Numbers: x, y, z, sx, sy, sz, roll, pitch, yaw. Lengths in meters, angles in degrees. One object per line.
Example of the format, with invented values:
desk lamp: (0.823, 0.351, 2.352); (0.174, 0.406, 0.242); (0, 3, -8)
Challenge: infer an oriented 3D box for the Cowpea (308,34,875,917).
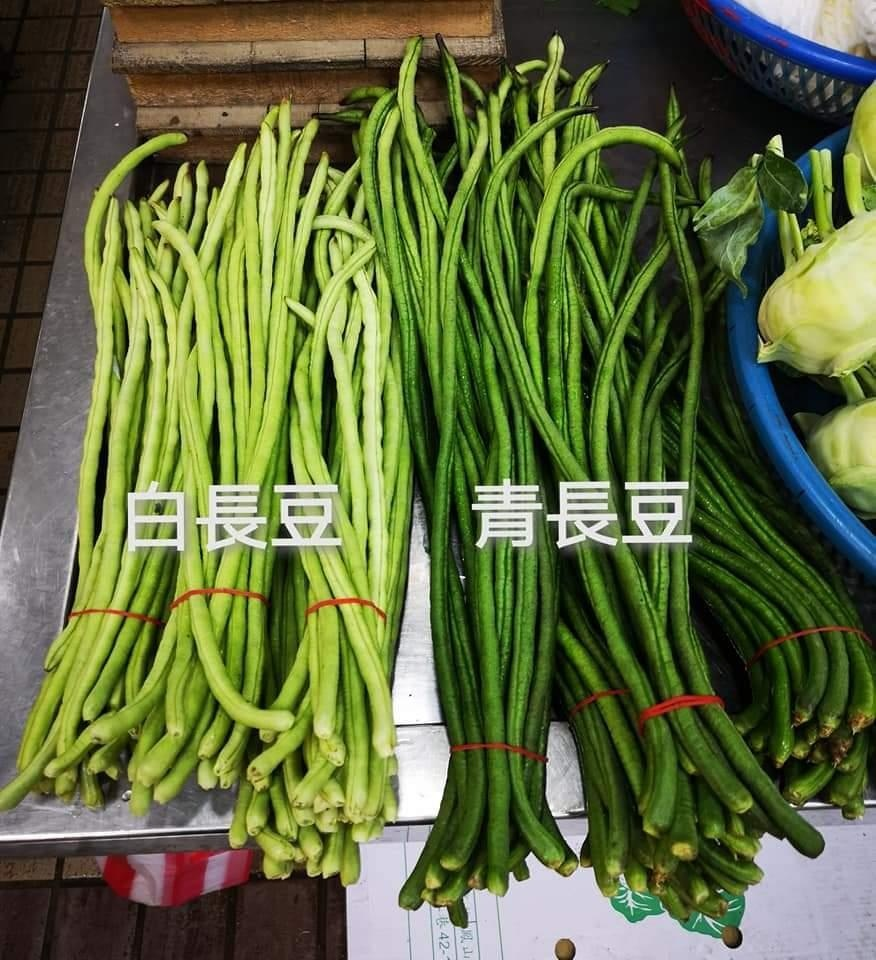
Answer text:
Cowpea: (0.148, -0.073, 0.888); (0.420, 0.312, 0.892); (-3, 66, -6)
